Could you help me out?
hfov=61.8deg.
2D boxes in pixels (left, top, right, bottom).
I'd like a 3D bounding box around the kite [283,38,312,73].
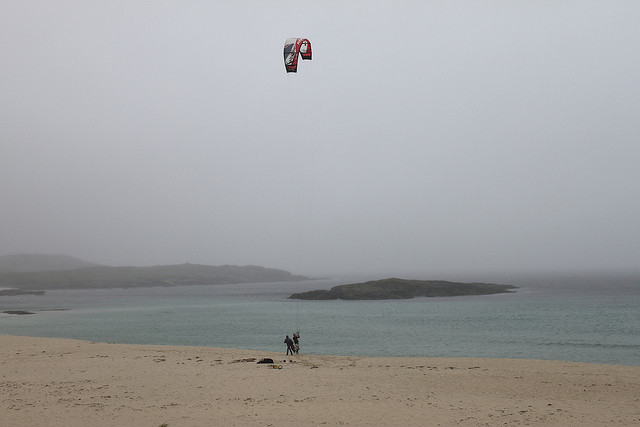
[{"bbox_3d":[-2.050,-13.541,44.355,2.324,2.782,2.372,3,-51,11],"label":"kite"}]
